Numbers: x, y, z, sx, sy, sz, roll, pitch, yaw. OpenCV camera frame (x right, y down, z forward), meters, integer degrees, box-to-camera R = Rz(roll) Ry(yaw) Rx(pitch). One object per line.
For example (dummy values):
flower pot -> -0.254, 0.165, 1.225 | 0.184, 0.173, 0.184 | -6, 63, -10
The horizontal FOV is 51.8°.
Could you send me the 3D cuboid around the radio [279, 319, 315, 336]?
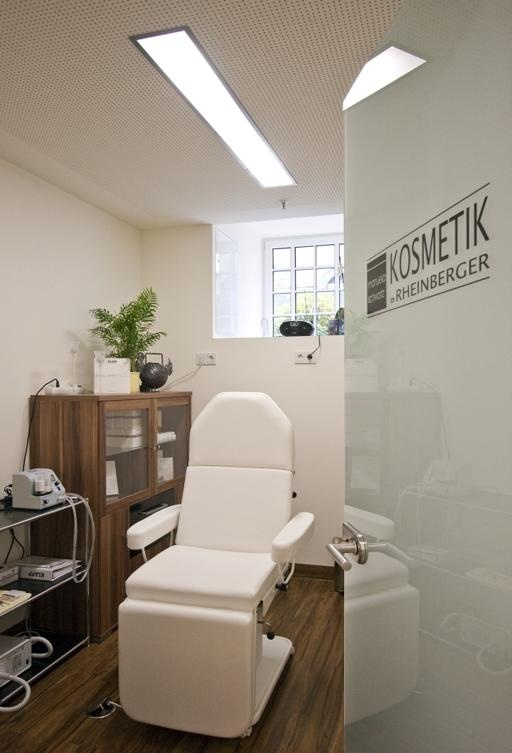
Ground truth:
radio -> 0.256, -0.301, 3.313 | 0.207, 0.102, 0.137 | 0, 3, 4
